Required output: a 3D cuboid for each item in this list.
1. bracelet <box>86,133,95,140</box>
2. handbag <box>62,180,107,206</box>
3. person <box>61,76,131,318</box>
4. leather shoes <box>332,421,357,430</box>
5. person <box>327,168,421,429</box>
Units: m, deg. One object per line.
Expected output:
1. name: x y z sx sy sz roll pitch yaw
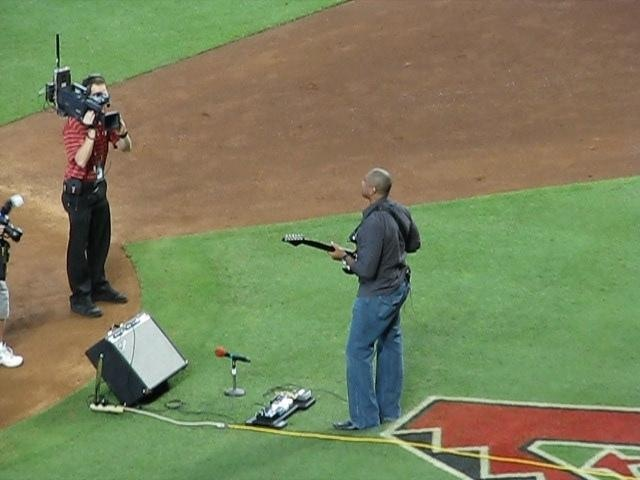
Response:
1. bracelet: -2.984 -1.343 14.718 0.090 0.092 0.056 11 16 11
2. handbag: -3.157 -0.632 15.090 0.425 0.222 0.323 -3 3 -5
3. person: -3.021 -0.559 15.223 0.877 3.143 1.289 3 -4 -9
4. leather shoes: 0.283 2.237 13.842 0.323 0.136 0.112 7 -4 10
5. person: 0.667 0.735 13.716 0.719 3.109 0.862 -2 -6 45
